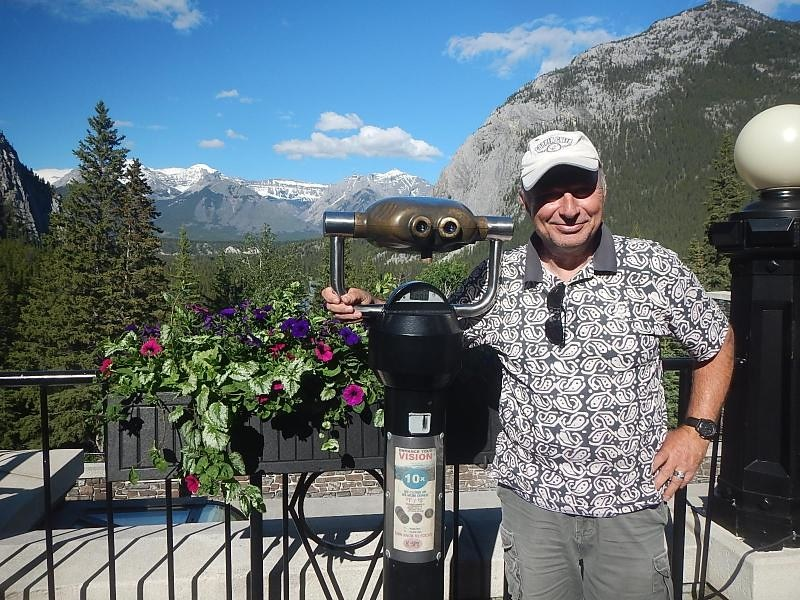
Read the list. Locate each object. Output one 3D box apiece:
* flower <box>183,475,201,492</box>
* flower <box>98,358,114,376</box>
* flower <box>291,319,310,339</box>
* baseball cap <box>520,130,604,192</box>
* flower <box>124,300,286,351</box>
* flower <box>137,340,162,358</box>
[{"bbox_3d":[-1.060,0.930,3.625,0.083,0.092,0.040,-9,2,29],"label":"flower"},{"bbox_3d":[-1.543,0.356,3.720,0.046,0.101,0.090,17,20,7],"label":"flower"},{"bbox_3d":[-0.534,0.158,3.844,0.120,0.103,0.104,-4,3,-32],"label":"flower"},{"bbox_3d":[0.752,-0.671,3.378,0.360,0.254,0.548,-8,5,14],"label":"baseball cap"},{"bbox_3d":[-1.075,0.141,4.020,0.899,0.237,0.650,-3,3,-13],"label":"flower"},{"bbox_3d":[-1.305,0.248,3.704,0.101,0.085,0.128,-4,3,-33],"label":"flower"}]
